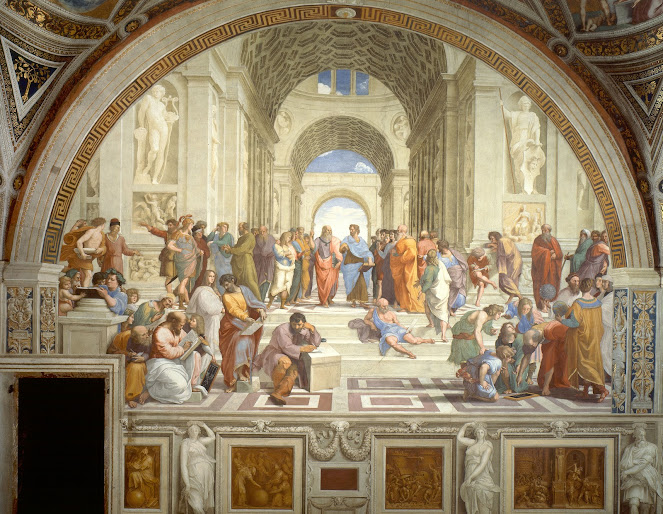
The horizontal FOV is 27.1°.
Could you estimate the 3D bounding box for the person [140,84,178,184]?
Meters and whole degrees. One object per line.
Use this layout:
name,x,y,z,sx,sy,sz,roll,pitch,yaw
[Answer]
person,-2.994,-2.111,23.663,0.728,1.718,0.287,1,-7,-7
